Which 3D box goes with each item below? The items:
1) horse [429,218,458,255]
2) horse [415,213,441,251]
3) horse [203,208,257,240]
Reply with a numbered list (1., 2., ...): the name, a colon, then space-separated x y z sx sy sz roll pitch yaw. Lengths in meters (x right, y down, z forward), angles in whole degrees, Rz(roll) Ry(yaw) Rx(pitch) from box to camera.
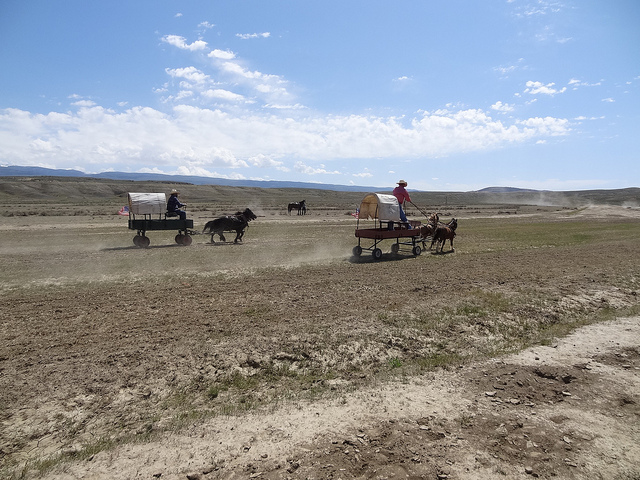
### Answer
1. horse: 8.071 -0.384 26.973 0.737 2.059 3.506 6 10 37
2. horse: 6.684 -0.567 26.035 2.736 1.816 0.631 -22 13 -39
3. horse: -6.697 -1.086 30.197 2.714 2.707 3.032 11 8 37
